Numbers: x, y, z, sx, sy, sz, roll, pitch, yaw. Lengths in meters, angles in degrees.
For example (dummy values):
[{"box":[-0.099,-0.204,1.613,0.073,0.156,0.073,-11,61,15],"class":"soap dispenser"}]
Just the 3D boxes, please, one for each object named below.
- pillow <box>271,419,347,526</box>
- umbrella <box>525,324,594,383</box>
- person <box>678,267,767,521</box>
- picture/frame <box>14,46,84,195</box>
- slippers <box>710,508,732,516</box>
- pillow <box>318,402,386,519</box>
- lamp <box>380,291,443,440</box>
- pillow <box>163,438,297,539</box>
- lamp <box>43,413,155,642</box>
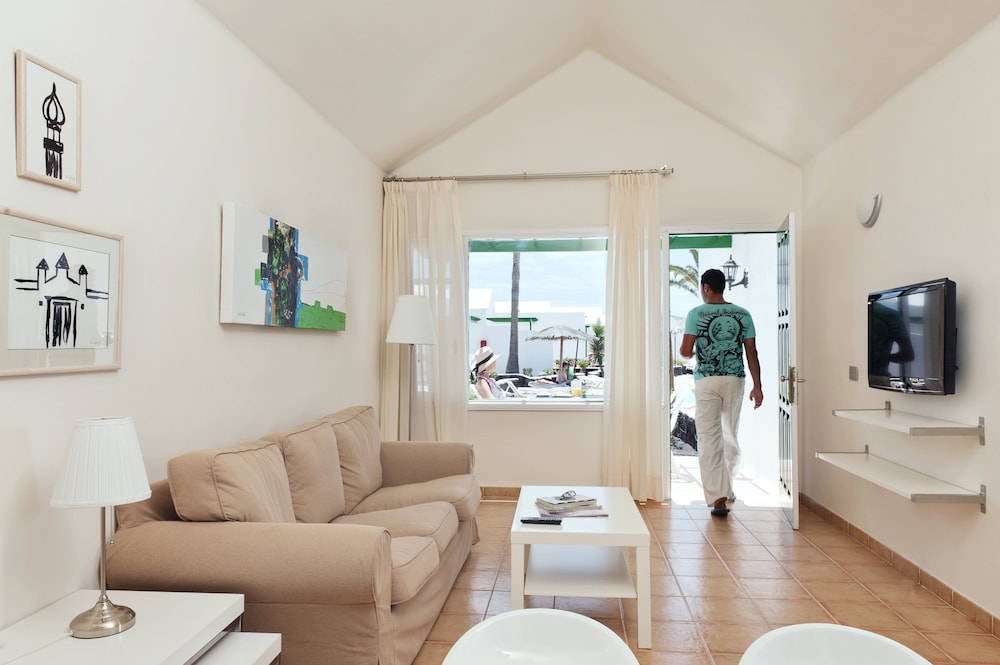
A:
[{"box":[-1.167,0.860,4.042,0.186,0.568,0.541,-14,-2,18],"class":"pillow"},{"box":[0.589,0.242,6.541,0.509,0.539,0.517,0,-13,6],"class":"umbrella"},{"box":[1.877,0.634,5.711,0.659,1.772,0.396,1,7,15],"class":"person"},{"box":[-2.106,-0.986,3.119,0.061,0.585,0.283,4,8,31],"class":"picture/frame"},{"box":[1.878,1.507,5.670,0.115,0.040,0.071,3,-1,-8],"class":"slippers"},{"box":[-1.012,0.885,4.528,0.224,0.469,0.643,4,-1,8],"class":"pillow"},{"box":[-0.758,-0.080,5.752,0.412,1.453,0.438,1,0,15],"class":"lamp"},{"box":[-1.433,0.819,3.549,0.399,0.443,0.597,-5,-8,21],"class":"pillow"},{"box":[-1.770,0.825,2.922,0.403,0.913,0.271,3,7,26],"class":"lamp"}]
